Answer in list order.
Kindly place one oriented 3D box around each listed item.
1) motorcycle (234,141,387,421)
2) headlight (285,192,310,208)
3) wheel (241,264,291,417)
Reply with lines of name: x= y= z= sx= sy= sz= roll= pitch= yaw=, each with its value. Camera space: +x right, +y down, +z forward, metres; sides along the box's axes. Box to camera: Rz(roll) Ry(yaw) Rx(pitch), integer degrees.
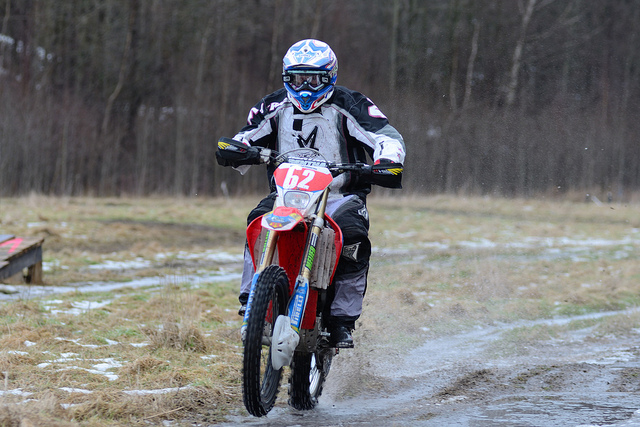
motorcycle: x=-0.311 y=0.818 z=11.962 sx=1.523 sy=3.176 sz=0.923 roll=1 pitch=4 yaw=-31
headlight: x=-0.245 y=-0.157 z=11.703 sx=0.276 sy=0.171 sz=0.062 roll=2 pitch=3 yaw=-3
wheel: x=-0.588 y=1.491 z=11.601 sx=0.428 sy=1.799 sz=0.603 roll=3 pitch=3 yaw=15
